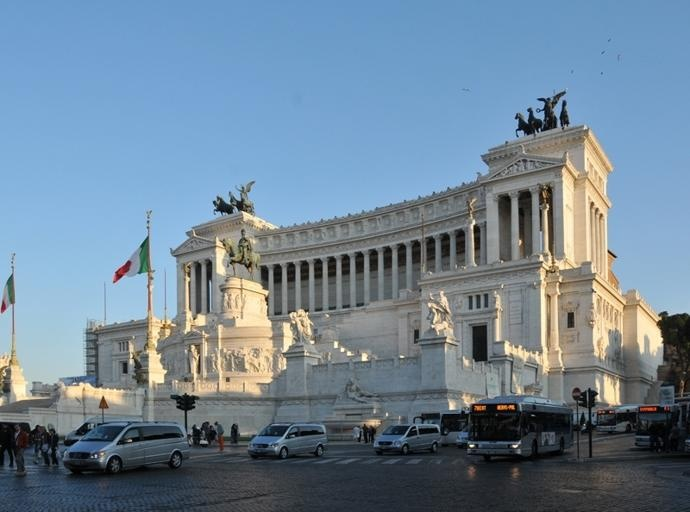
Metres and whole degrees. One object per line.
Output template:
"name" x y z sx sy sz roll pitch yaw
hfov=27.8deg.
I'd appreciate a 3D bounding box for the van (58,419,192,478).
"van" -11.287 9.899 72.004 5.568 2.157 2.700 12 -16 -43
